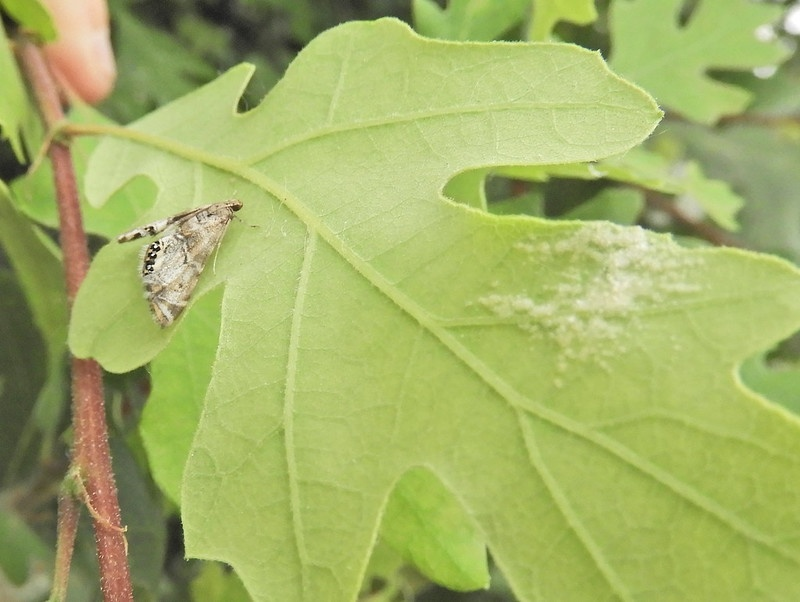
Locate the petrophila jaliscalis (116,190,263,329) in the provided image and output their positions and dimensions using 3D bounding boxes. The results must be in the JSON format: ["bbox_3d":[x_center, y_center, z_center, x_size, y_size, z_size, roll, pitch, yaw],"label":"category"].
[{"bbox_3d":[-0.253,-0.057,1.191,0.149,0.042,0.153,-33,76,10],"label":"petrophila jaliscalis"}]
